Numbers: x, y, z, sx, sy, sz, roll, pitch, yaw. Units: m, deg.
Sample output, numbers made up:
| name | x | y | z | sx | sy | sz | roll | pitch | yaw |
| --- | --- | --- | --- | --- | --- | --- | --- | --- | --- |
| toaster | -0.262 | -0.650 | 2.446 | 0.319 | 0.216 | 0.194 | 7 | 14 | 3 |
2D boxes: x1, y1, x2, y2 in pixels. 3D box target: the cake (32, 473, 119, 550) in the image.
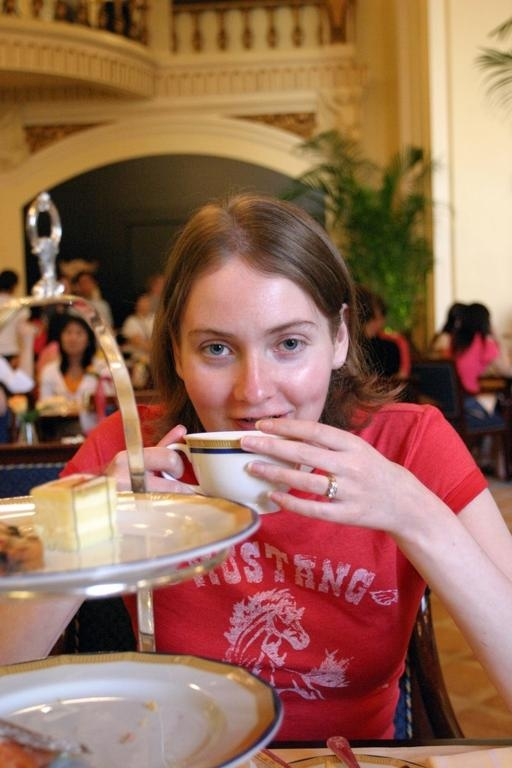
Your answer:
| name | x | y | z | sx | sy | sz | roll | pitch | yaw |
| --- | --- | --- | --- | --- | --- | --- | --- | --- | --- |
| cake | -0.106 | 0.076 | 0.393 | 0.037 | 0.041 | 0.062 | -4 | 0 | 25 |

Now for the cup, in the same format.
| name | x | y | z | sx | sy | sz | roll | pitch | yaw |
| --- | --- | --- | --- | --- | --- | --- | --- | --- | --- |
| cup | -0.025 | 0.071 | 0.569 | 0.096 | 0.043 | 0.066 | 0 | 1 | 20 |
